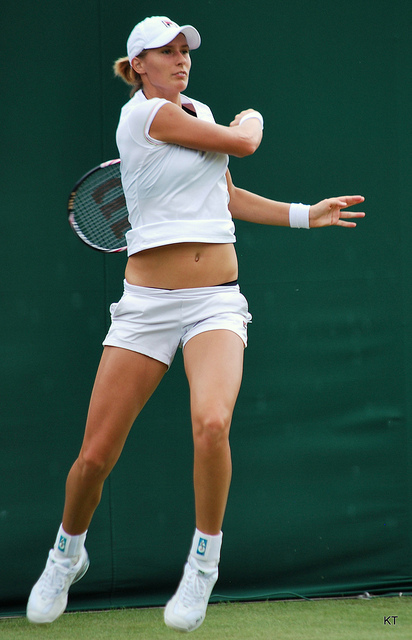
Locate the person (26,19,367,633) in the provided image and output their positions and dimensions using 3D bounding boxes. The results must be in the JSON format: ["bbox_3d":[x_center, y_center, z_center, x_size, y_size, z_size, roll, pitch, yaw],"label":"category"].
[{"bbox_3d":[-0.074,0.125,1.859,0.665,1.766,0.580,1,2,37],"label":"person"}]

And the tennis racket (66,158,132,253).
[{"bbox_3d":[-0.327,-0.340,2.040,0.198,0.271,0.178,0,2,9],"label":"tennis racket"}]

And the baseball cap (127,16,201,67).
[{"bbox_3d":[-0.084,-0.717,1.668,0.119,0.080,0.157,3,10,20],"label":"baseball cap"}]
